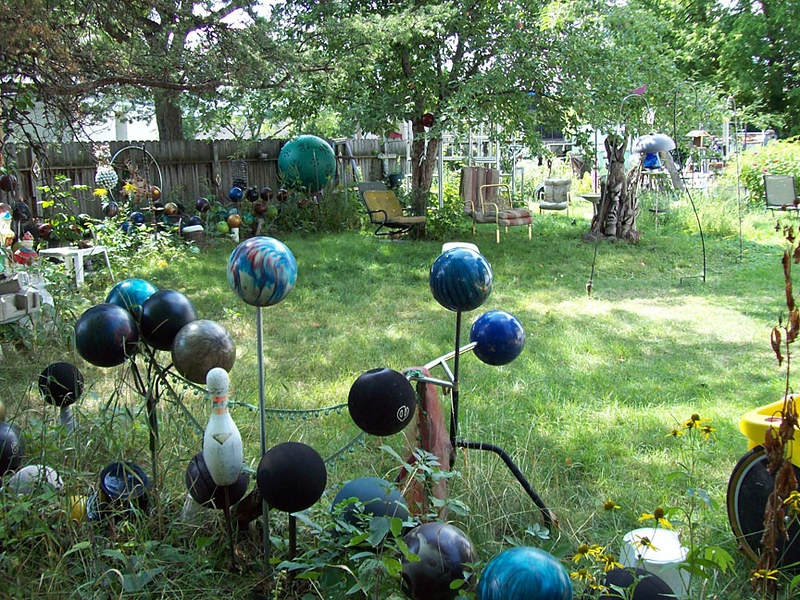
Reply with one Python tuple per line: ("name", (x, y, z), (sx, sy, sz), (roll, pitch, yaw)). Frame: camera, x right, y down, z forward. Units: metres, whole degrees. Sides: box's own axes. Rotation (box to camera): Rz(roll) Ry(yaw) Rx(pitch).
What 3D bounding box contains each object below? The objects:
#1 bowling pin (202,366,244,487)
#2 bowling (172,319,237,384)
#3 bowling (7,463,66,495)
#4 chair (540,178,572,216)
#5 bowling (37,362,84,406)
("bowling pin", (-0.779, 0.543, 3.002), (0.171, 0.541, 0.199), (-4, 12, -19))
("bowling", (-0.950, 0.252, 3.315), (0.271, 0.292, 0.196), (1, 9, 7))
("bowling", (-1.714, 0.852, 3.256), (0.223, 0.149, 0.196), (3, 0, 9))
("chair", (3.284, -2.287, 15.222), (0.656, 0.971, 0.784), (3, 9, 20))
("bowling", (-1.755, 0.456, 3.582), (0.198, 0.257, 0.175), (-6, 11, -31))
